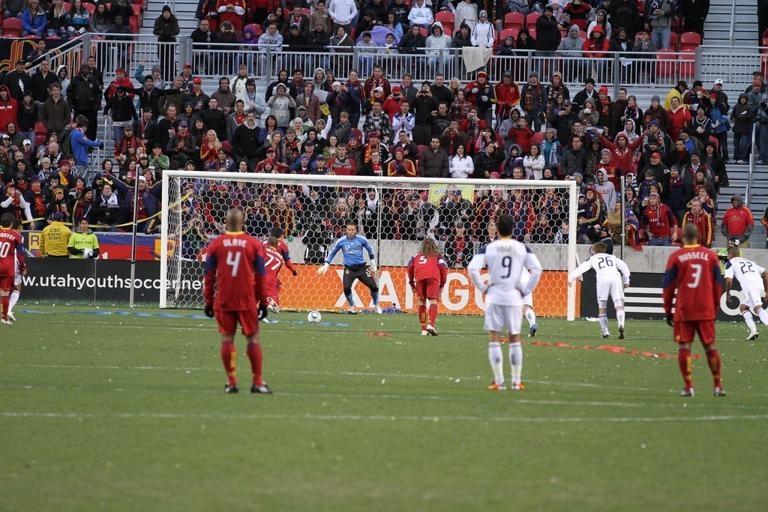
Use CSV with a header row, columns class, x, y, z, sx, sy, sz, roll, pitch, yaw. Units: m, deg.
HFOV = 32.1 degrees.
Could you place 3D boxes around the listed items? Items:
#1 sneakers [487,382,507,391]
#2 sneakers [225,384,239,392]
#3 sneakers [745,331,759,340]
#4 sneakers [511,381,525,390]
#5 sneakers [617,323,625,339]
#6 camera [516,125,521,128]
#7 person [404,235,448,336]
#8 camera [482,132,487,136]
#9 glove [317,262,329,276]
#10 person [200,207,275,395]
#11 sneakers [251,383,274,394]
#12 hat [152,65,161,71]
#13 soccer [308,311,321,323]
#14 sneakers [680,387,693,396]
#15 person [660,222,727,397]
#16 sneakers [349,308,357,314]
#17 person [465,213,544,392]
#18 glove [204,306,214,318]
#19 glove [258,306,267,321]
class,x,y,z,sx,sy,sz,roll,pitch,yaw
sneakers,2.121,2.438,25.384,0.269,0.117,0.133,4,6,17
sneakers,-2.830,2.402,24.638,0.215,0.136,0.137,-3,4,1
sneakers,8.657,1.860,31.620,0.137,0.169,0.382,-3,2,-22
sneakers,2.555,2.430,25.430,0.106,0.121,0.288,1,4,31
sneakers,5.563,1.814,31.538,0.130,0.161,0.376,0,-23,7
camera,3.851,-3.707,38.517,0.072,0.088,0.260,-1,4,-15
person,0.975,0.684,31.096,0.848,2.224,1.083,0,3,1
camera,2.852,-3.452,38.199,0.108,0.106,0.027,1,-1,19
glove,-1.642,0.335,35.373,0.137,0.186,0.553,-24,-3,-6
person,-2.722,0.801,24.653,0.979,3.335,0.982,-3,4,-41
sneakers,-2.285,2.410,24.639,0.326,0.136,0.175,0,2,-7
hat,-7.059,-5.752,41.173,0.199,0.139,0.196,1,-6,-3
soccer,-1.701,1.485,32.913,0.289,0.282,0.284,-13,39,-25
sneakers,5.716,2.505,25.269,0.237,0.172,0.274,1,4,12
person,5.884,0.991,25.389,1.138,3.181,0.904,1,3,13
sneakers,-0.870,1.437,35.634,0.200,0.142,0.256,4,-11,-9
person,2.274,0.867,25.408,1.286,3.229,0.620,0,3,3
glove,-3.285,1.034,24.967,0.198,0.185,0.192,4,-10,2
glove,-2.295,1.056,24.976,0.227,0.222,0.076,8,-12,-10
